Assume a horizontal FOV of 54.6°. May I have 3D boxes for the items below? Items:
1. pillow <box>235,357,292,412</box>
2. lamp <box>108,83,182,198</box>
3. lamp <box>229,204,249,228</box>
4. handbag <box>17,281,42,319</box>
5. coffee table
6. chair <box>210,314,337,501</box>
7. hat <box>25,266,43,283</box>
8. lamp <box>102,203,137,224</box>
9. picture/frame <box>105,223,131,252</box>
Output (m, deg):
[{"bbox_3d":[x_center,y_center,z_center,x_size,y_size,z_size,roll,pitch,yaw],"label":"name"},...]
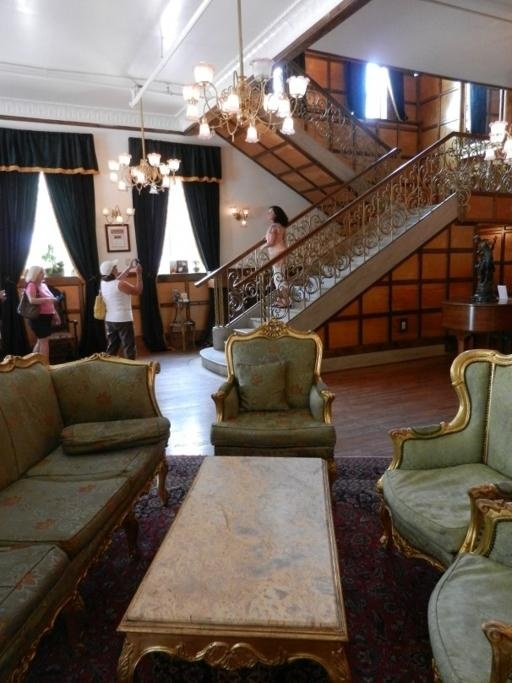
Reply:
[{"bbox_3d":[0.054,0.297,3.308,0.310,0.314,0.115,-2,-12,2],"label":"pillow"},{"bbox_3d":[-1.692,-3.037,7.387,1.001,1.737,0.914,-17,35,-26],"label":"lamp"},{"bbox_3d":[-0.306,-2.285,8.986,0.340,0.342,0.288,0,6,-6],"label":"lamp"},{"bbox_3d":[-2.793,-0.446,6.088,0.324,0.346,0.171,5,15,40],"label":"handbag"},{"bbox_3d":[-0.056,0.614,1.552,0.476,0.227,0.937,0,14,3],"label":"coffee table"},{"bbox_3d":[0.101,0.396,3.228,0.824,1.132,0.880,0,3,2],"label":"chair"},{"bbox_3d":[-2.666,-0.820,6.015,0.180,0.197,0.291,-10,12,-24],"label":"hat"},{"bbox_3d":[-2.206,-2.037,7.980,0.495,0.315,0.266,-8,18,-30],"label":"lamp"},{"bbox_3d":[-2.249,-1.713,8.047,0.413,0.496,0.034,-8,13,-28],"label":"picture/frame"}]
